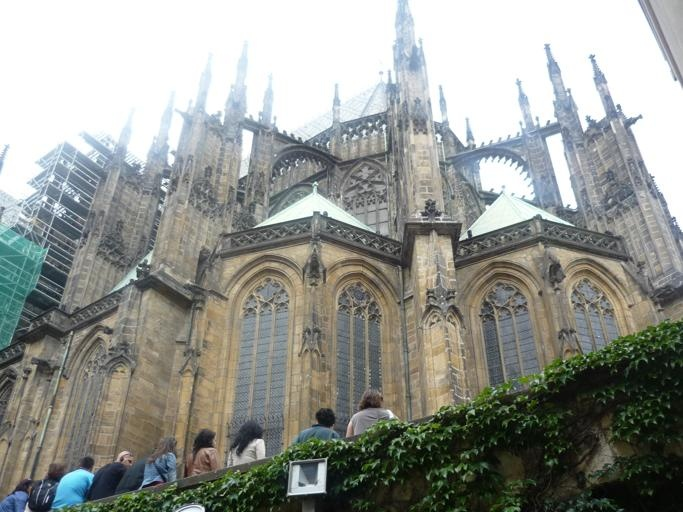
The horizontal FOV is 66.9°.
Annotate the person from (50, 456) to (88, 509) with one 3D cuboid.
[{"bbox_3d":[-5.028,4.308,9.796,0.634,0.963,0.564,11,-34,-17],"label":"person"}]

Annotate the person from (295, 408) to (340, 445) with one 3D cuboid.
[{"bbox_3d":[-0.420,2.917,8.858,0.695,0.727,0.722,3,-32,-4],"label":"person"}]

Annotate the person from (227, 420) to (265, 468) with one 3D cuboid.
[{"bbox_3d":[-1.674,3.385,9.373,0.668,0.841,0.545,2,-32,-3],"label":"person"}]

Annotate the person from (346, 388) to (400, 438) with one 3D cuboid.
[{"bbox_3d":[0.468,2.675,8.819,0.764,0.836,0.633,-2,-32,4],"label":"person"}]

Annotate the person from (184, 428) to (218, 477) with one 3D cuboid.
[{"bbox_3d":[-2.464,3.570,9.334,0.509,0.724,0.820,11,-34,-17],"label":"person"}]
